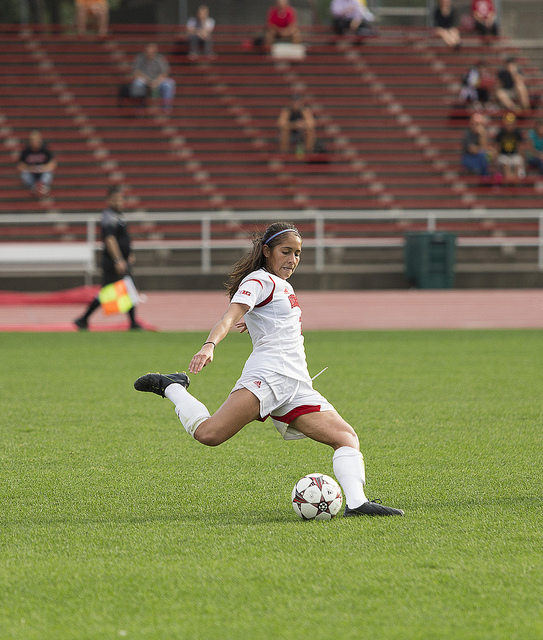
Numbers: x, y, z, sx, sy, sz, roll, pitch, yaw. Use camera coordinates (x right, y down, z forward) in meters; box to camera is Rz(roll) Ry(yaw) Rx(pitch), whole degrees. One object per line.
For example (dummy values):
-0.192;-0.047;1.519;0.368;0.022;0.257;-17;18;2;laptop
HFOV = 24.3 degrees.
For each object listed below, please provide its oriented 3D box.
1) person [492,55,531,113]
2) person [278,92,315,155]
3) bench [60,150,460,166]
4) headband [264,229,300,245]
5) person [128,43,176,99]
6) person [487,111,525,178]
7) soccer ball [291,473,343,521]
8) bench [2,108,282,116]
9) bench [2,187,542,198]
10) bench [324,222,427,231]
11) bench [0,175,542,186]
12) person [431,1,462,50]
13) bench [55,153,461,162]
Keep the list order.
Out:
4.065;-3.973;21.505;0.564;0.875;0.613;-6;14;-25;person
0.426;-3.381;21.467;0.763;0.855;0.962;-5;35;-10;person
-0.321;-2.778;21.639;6.590;0.247;0.834;0;11;-2;bench
0.083;-0.456;6.828;0.207;0.081;0.106;-9;15;-39;headband
-2.093;-4.347;22.254;0.846;0.993;0.570;-1;35;-9;person
3.872;-2.865;20.719;0.565;1.012;0.874;2;13;9;person
0.236;0.897;6.596;0.255;0.207;0.241;-8;17;2;soccer ball
-2.479;-3.735;22.570;3.088;0.279;0.067;-1;-6;-3;bench
0.135;-2.123;20.851;8.503;0.153;0.814;0;11;-1;bench
1.515;-1.341;18.287;1.445;0.135;0.660;0;11;-2;bench
0.429;-2.360;21.149;7.889;0.193;0.930;0;11;3;bench
3.255;-5.410;23.337;0.526;0.791;1.142;1;12;7;person
-0.227;-2.786;21.602;6.646;0.156;0.685;0;11;0;bench
